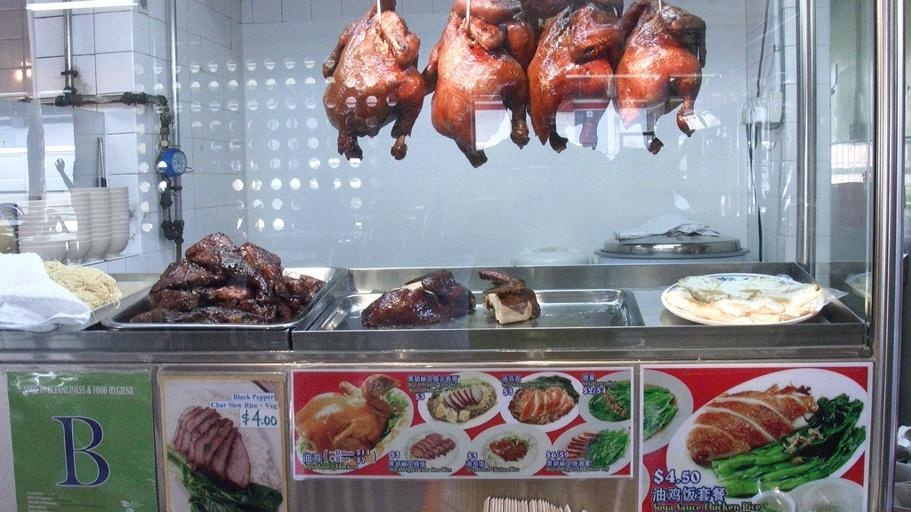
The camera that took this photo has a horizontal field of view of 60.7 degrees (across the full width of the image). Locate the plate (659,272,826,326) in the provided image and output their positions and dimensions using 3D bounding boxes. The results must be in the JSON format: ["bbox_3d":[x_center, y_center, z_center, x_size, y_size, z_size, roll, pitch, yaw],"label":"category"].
[{"bbox_3d":[1.267,0.181,3.351,0.726,0.196,0.285,-4,3,2],"label":"plate"}]

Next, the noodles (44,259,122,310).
[{"bbox_3d":[-1.713,0.128,3.516,0.327,0.218,0.176,-5,3,-18],"label":"noodles"}]
